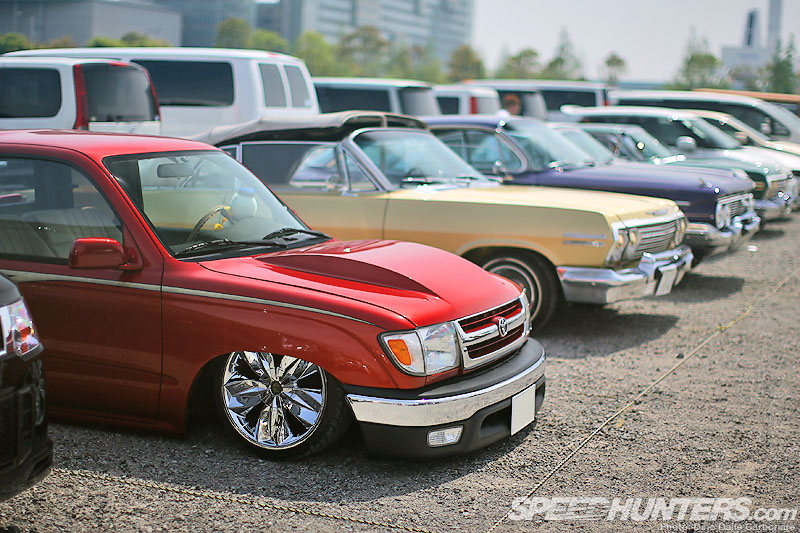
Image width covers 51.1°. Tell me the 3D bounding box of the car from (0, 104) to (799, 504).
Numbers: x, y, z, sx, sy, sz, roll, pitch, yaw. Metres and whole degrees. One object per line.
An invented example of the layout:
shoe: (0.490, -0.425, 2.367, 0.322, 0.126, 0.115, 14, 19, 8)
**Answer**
car: (-0.021, -0.125, 7.034, 5.787, 2.242, 3.738, -9, 16, -40)
